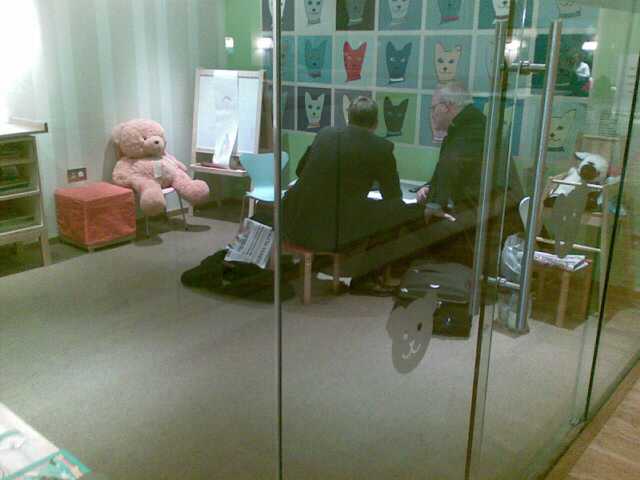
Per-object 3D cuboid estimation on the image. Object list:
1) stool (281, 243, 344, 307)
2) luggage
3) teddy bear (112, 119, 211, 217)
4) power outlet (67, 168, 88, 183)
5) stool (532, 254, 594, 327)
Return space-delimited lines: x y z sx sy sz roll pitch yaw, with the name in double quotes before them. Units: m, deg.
"stool" -0.014 0.052 0.798 0.091 0.096 0.095 -1 14 -9
"luggage" 0.265 0.087 1.018 0.179 0.048 0.193 1 29 17
"teddy bear" -0.396 -0.190 1.188 0.240 0.180 0.211 19 27 14
"power outlet" -0.525 -0.143 1.047 0.041 0.032 0.062 -10 20 -27
"stool" 0.645 0.129 1.356 0.201 0.158 0.209 2 11 -12
